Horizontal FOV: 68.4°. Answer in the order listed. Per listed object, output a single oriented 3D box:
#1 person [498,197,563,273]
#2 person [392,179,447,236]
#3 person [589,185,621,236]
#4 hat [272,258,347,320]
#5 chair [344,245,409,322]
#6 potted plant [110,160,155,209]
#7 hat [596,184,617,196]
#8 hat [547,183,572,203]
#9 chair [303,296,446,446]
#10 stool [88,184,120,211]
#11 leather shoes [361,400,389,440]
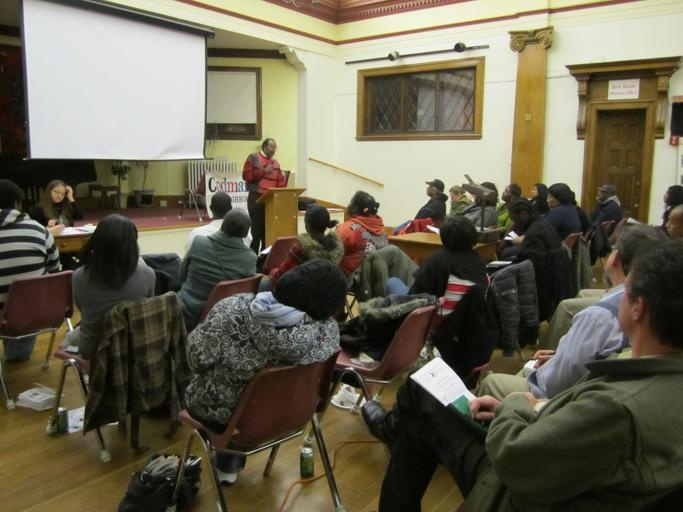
[{"bbox_3d":[1.490,-0.021,4.221,0.472,0.819,0.429,11,2,30],"label":"person"},{"bbox_3d":[1.063,-0.602,6.799,0.717,0.863,0.535,4,9,11],"label":"person"},{"bbox_3d":[3.455,-0.482,6.610,0.416,0.870,0.383,5,15,45],"label":"person"},{"bbox_3d":[-0.117,0.110,1.975,0.263,0.215,0.194,28,7,-28],"label":"hat"},{"bbox_3d":[0.232,0.200,3.683,0.486,0.243,0.378,-25,-16,38],"label":"chair"},{"bbox_3d":[-3.894,-1.329,9.398,0.721,0.853,0.541,-4,13,-23],"label":"potted plant"},{"bbox_3d":[3.620,-0.893,6.881,0.267,0.148,0.198,25,22,27],"label":"hat"},{"bbox_3d":[2.304,-0.629,5.297,0.185,0.195,0.242,5,21,-13],"label":"hat"},{"bbox_3d":[0.255,0.478,2.932,0.694,1.022,0.652,9,9,32],"label":"chair"},{"bbox_3d":[-4.345,-1.065,9.190,0.448,0.559,0.559,-2,7,-37],"label":"stool"},{"bbox_3d":[0.152,0.740,2.235,0.100,0.072,0.174,-3,18,-21],"label":"leather shoes"}]
